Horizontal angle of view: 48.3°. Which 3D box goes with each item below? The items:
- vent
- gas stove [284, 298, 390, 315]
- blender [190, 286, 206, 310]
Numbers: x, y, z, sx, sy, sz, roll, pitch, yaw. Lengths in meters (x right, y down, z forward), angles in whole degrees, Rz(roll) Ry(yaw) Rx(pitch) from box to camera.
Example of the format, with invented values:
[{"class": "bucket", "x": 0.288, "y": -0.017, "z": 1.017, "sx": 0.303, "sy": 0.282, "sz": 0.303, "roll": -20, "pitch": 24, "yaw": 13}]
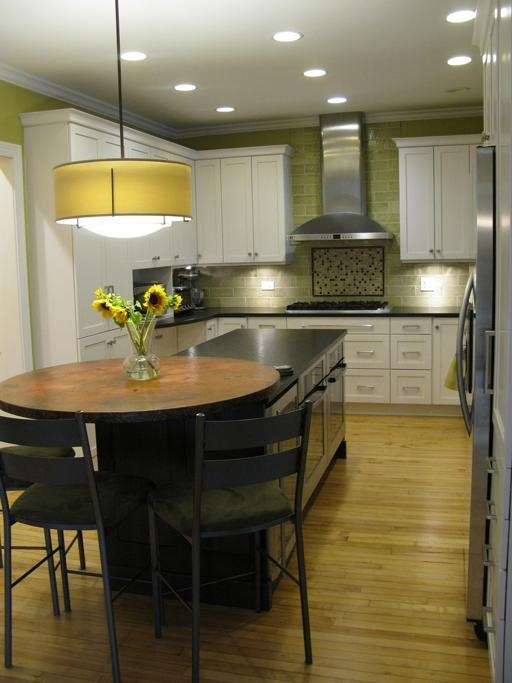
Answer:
[{"class": "vent", "x": 0.848, "y": -1.557, "z": 5.448, "sx": 1.031, "sy": 1.075, "sz": 0.864, "roll": 7, "pitch": 23, "yaw": 23}, {"class": "gas stove", "x": 0.740, "y": -0.305, "z": 5.230, "sx": 0.918, "sy": 0.094, "sz": 0.411, "roll": 0, "pitch": 5, "yaw": 20}, {"class": "blender", "x": -0.594, "y": -0.436, "z": 5.806, "sx": 0.177, "sy": 0.252, "sz": 0.196, "roll": -1, "pitch": 1, "yaw": 1}]
